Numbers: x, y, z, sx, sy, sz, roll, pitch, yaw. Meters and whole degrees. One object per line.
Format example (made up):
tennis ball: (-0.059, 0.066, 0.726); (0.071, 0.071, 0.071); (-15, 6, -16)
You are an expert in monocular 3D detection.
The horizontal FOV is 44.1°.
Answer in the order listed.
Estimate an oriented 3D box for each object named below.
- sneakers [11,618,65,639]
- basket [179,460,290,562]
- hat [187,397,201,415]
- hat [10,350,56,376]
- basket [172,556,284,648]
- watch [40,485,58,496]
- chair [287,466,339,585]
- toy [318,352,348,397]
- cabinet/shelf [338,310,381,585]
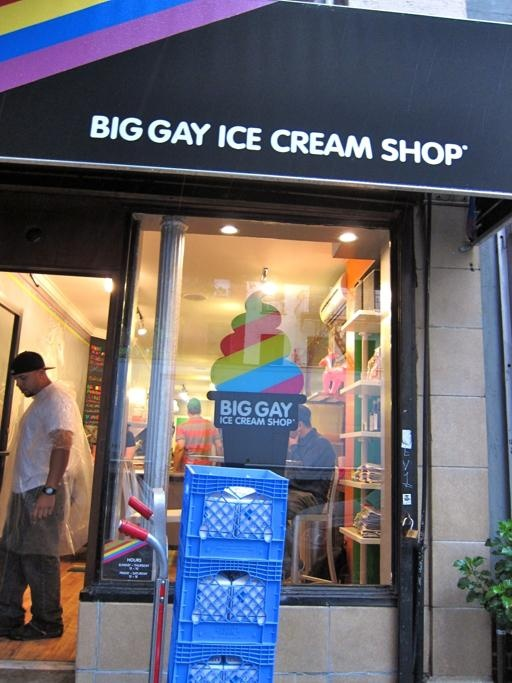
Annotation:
sneakers: (-1.127, 1.489, 3.289); (0.228, 0.103, 0.094); (10, -24, -14)
basket: (-0.065, 0.493, 1.881); (0.356, 0.260, 0.218); (3, -5, -15)
hat: (-0.283, 0.295, 2.902); (0.055, 0.074, 0.063); (3, -8, -6)
hat: (-1.333, 0.124, 3.737); (0.187, 0.100, 0.125); (-5, 4, -37)
basket: (-0.093, 0.758, 1.862); (0.284, 0.283, 0.174); (4, -9, -7)
watch: (-1.114, 0.807, 3.414); (0.070, 0.049, 0.053); (7, -16, -22)
chair: (0.226, 0.821, 2.862); (0.228, 0.450, 0.234); (5, -4, -16)
toy: (0.368, 0.152, 3.042); (0.140, 0.190, 0.051); (8, -7, -7)
cabinet/shelf: (0.494, 0.471, 2.965); (0.193, 1.258, 0.112); (0, -15, 3)
